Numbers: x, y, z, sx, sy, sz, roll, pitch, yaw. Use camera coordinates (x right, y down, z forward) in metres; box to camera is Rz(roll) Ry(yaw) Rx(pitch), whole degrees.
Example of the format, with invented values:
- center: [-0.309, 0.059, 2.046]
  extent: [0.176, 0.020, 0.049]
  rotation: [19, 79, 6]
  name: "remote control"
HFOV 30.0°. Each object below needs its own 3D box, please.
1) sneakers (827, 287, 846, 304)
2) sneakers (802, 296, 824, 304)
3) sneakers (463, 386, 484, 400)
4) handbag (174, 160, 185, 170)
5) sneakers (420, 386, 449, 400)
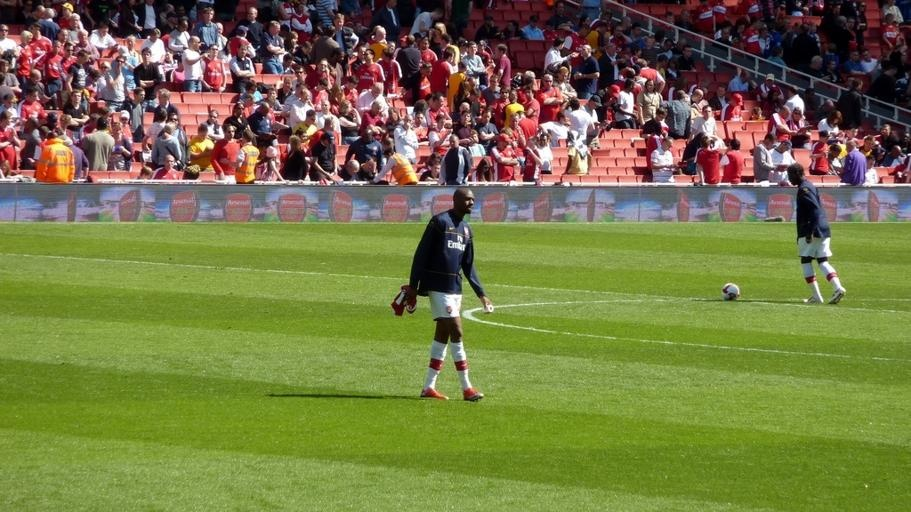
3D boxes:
- center: [9.652, 1.021, 42.573]
  extent: [0.269, 0.262, 0.642]
  rotation: [2, -10, -12]
  name: "sneakers"
- center: [9.047, 1.085, 42.528]
  extent: [0.387, 0.126, 0.194]
  rotation: [3, 2, 18]
  name: "sneakers"
- center: [0.390, 2.948, 36.205]
  extent: [0.486, 0.184, 0.220]
  rotation: [-1, 2, 30]
  name: "sneakers"
- center: [-8.056, -2.649, 49.517]
  extent: [0.288, 0.182, 0.285]
  rotation: [-14, 2, -32]
  name: "handbag"
- center: [-0.434, 2.910, 36.367]
  extent: [0.594, 0.188, 0.251]
  rotation: [0, 4, -1]
  name: "sneakers"
